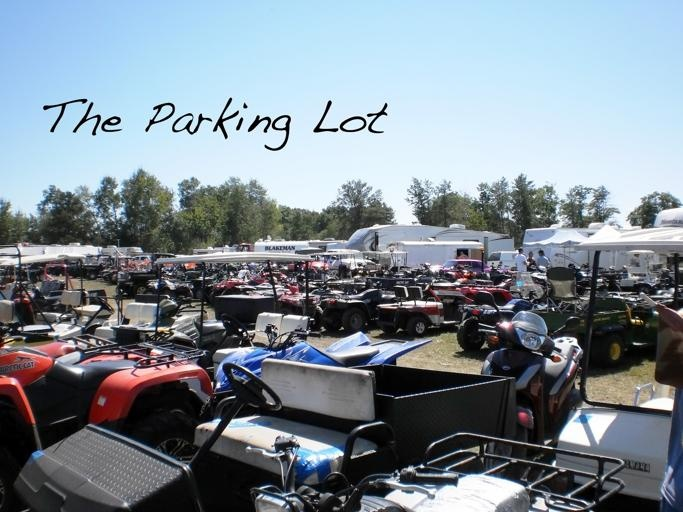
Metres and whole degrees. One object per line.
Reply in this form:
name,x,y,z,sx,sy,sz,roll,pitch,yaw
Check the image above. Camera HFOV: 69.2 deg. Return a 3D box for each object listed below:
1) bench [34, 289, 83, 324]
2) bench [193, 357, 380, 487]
bench,-5.244,0.970,9.169,0.803,0.511,0.830,-15,-10,38
bench,-0.085,1.146,3.515,0.709,0.596,1.281,23,-23,-38
